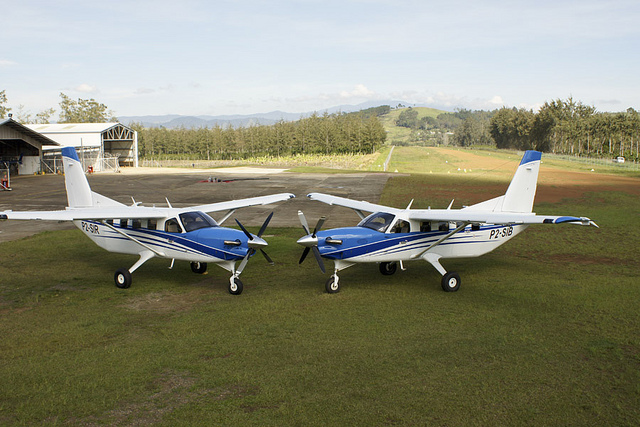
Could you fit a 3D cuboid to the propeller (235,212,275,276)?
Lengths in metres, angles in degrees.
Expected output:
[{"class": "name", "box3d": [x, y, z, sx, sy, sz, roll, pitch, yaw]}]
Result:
[{"class": "propeller", "box3d": [-2.419, 1.121, 15.029, 1.625, 2.351, 1.503, -2, -2, -12]}]

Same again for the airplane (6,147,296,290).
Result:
[{"class": "airplane", "box3d": [-6.623, -0.561, 21.080, 9.396, 5.346, 14.599, -1, 8, -5]}]
